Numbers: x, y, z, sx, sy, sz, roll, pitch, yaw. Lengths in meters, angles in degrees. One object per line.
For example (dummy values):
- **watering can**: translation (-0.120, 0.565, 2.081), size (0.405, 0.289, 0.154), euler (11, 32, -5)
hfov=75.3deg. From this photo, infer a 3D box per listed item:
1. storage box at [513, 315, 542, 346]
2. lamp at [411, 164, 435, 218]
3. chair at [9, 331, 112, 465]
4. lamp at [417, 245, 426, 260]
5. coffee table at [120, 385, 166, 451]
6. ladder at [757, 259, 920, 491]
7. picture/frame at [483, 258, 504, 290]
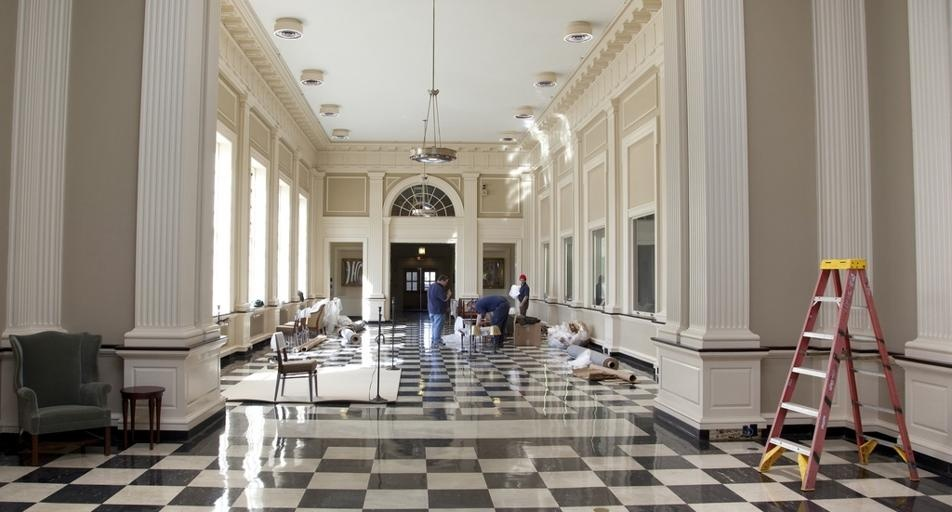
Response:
- **storage box**: translation (1.361, 2.009, 16.818), size (0.810, 0.551, 0.761), euler (0, -3, -1)
- **lamp**: translation (-1.839, -2.314, 21.814), size (0.713, 1.833, 1.646), euler (0, 6, -4)
- **chair**: translation (-5.934, 1.945, 8.825), size (1.200, 1.681, 0.982), euler (-3, 7, -28)
- **lamp**: translation (-2.605, -0.187, 29.464), size (0.400, 0.748, 0.405), euler (0, 6, -6)
- **coffee table**: translation (-4.883, 2.298, 9.024), size (0.644, 0.872, 0.487), euler (0, 6, -2)
- **ladder**: translation (5.084, 1.497, 8.500), size (2.064, 2.941, 1.652), euler (-6, 9, -45)
- **picture/frame**: translation (0.740, 0.761, 27.044), size (1.519, 1.538, 0.119), euler (1, -3, -2)
